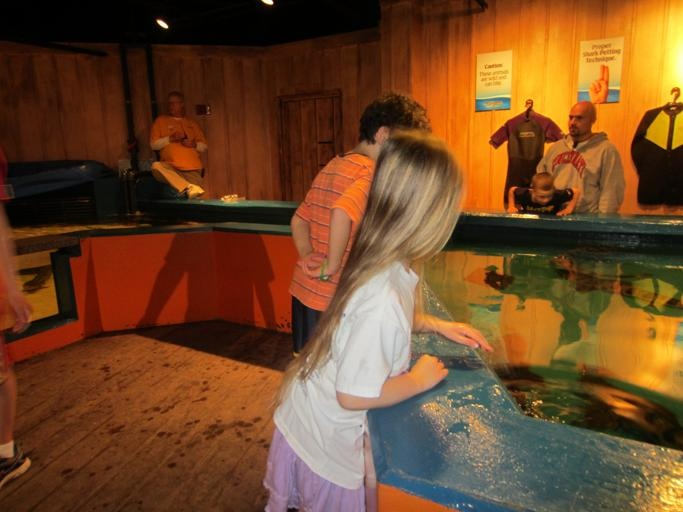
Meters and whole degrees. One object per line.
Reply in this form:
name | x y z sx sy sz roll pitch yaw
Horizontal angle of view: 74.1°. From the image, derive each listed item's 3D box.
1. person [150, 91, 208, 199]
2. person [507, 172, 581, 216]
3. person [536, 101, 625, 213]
person | -2.209 -1.526 6.110 0.703 1.336 1.173 -6 17 -16
person | 2.036 -0.657 4.676 0.412 0.412 0.703 -13 20 -36
person | 2.518 -0.800 4.970 0.543 1.627 0.841 -9 15 -42
